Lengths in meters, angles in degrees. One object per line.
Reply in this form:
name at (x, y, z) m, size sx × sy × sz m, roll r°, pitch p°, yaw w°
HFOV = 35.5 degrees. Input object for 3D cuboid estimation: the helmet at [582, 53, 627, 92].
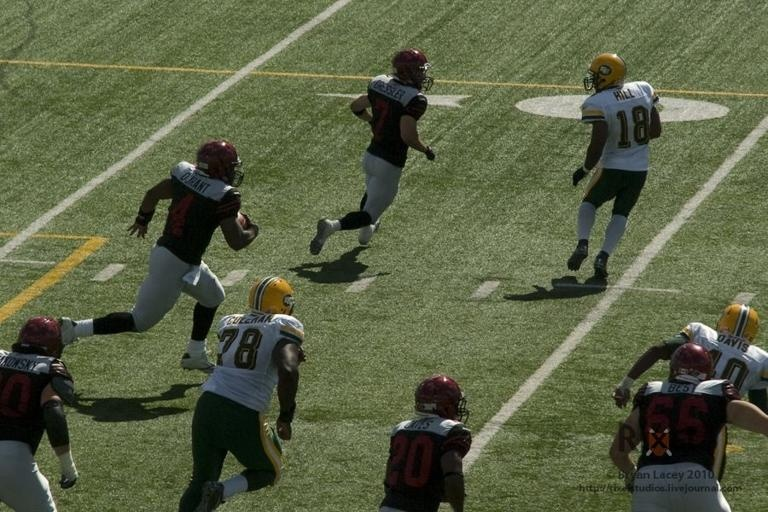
helmet at (2.211, -1.818, 11.818) m, size 0.463 × 0.336 × 0.339 m, roll -1°, pitch 1°, yaw 34°

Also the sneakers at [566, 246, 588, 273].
sneakers at (1.840, 0.054, 11.508) m, size 0.136 × 0.280 × 0.122 m, roll 30°, pitch 55°, yaw 4°

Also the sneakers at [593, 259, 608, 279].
sneakers at (2.098, 0.122, 11.586) m, size 0.101 × 0.101 × 0.217 m, roll 3°, pitch -28°, yaw 21°

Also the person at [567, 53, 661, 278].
person at (2.192, -0.858, 11.644) m, size 0.731 × 2.057 × 1.104 m, roll 8°, pitch 25°, yaw 21°

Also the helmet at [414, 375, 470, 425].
helmet at (0.390, 1.053, 8.558) m, size 0.341 × 0.345 × 0.445 m, roll -1°, pitch -2°, yaw 44°

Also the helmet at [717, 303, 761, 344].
helmet at (2.766, 0.531, 9.463) m, size 0.276 × 0.301 × 0.332 m, roll 23°, pitch -3°, yaw 9°

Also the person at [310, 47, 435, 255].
person at (-0.045, -1.055, 12.164) m, size 1.102 × 2.000 × 1.344 m, roll 7°, pitch 24°, yaw 18°

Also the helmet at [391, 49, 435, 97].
helmet at (0.274, -1.909, 12.196) m, size 0.491 × 0.414 × 0.361 m, roll 1°, pitch 15°, yaw -30°

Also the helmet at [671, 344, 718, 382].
helmet at (2.143, 0.769, 8.604) m, size 0.350 × 0.279 × 0.259 m, roll 12°, pitch -2°, yaw 11°

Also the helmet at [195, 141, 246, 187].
helmet at (-1.400, -0.800, 10.237) m, size 0.462 × 0.388 × 0.378 m, roll 12°, pitch 16°, yaw 12°

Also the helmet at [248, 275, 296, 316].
helmet at (-0.871, 0.321, 9.247) m, size 0.311 × 0.295 × 0.392 m, roll 8°, pitch -1°, yaw 28°
